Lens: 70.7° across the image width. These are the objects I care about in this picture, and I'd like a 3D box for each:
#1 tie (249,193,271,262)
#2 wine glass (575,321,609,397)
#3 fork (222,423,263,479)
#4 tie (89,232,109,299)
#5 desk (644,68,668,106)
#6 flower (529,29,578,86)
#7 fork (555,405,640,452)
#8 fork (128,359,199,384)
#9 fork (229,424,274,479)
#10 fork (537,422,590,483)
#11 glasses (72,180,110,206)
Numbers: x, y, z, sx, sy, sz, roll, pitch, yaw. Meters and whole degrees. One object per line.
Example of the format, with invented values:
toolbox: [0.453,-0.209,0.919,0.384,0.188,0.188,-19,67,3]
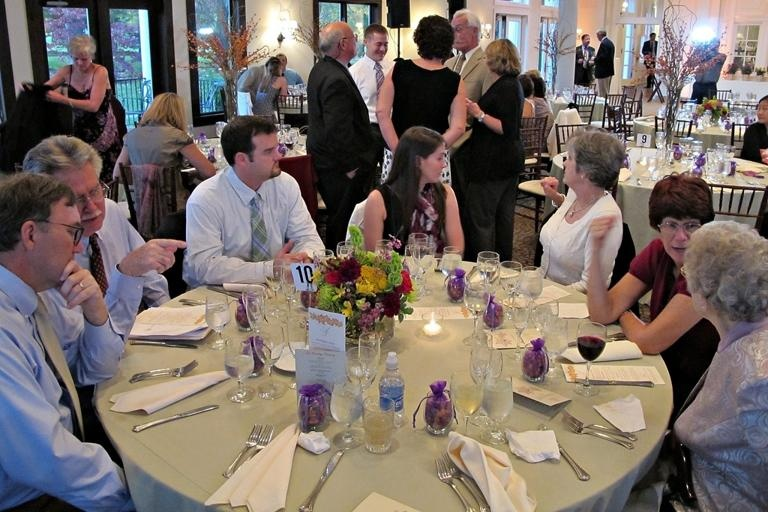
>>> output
tie: [-0.731,-0.146,3.180,0.124,0.453,0.035,-4,35,-9]
wine glass: [0.824,0.401,2.171,0.110,0.300,0.110,-4,17,-10]
fork: [-0.457,0.638,1.808,0.038,0.037,0.251,1,37,20]
tie: [-1.354,0.044,2.568,0.031,0.318,0.032,-2,7,-1]
desk: [7.480,-4.866,15.030,0.633,0.897,0.663,10,16,37]
flower: [4.184,-4.841,13.209,0.687,1.450,0.853,4,36,15]
fork: [0.748,0.611,1.909,0.277,0.048,0.089,17,30,17]
fork: [-0.863,0.456,2.169,0.329,0.054,0.085,-8,37,-4]
fork: [-0.441,0.632,1.794,0.056,0.023,0.196,6,40,23]
fork: [0.593,0.668,1.849,0.045,0.042,0.352,-10,26,-7]
glasses: [-1.381,-0.281,2.545,0.149,0.171,0.062,-6,-4,-15]
